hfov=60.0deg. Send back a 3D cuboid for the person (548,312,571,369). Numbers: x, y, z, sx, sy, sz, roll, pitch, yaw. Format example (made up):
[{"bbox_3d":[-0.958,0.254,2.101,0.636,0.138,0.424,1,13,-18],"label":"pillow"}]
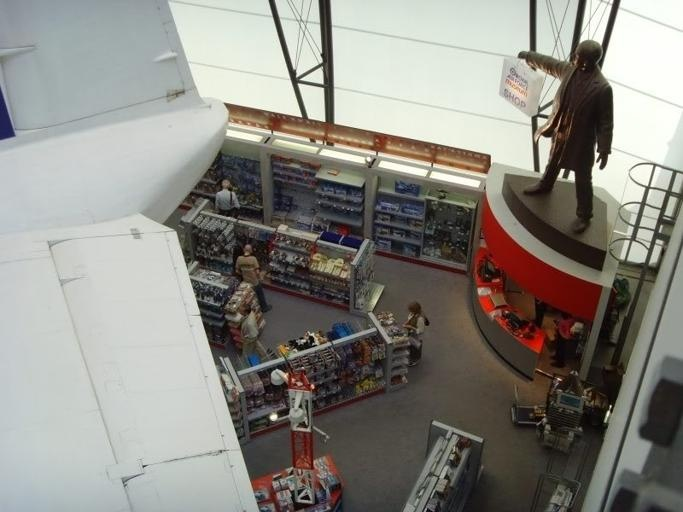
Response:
[{"bbox_3d":[4.640,1.836,12.546,0.403,1.352,0.542,10,36,16],"label":"person"}]

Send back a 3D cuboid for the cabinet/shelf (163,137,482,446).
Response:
[{"bbox_3d":[-0.104,0.753,12.236,4.205,1.943,4.596,1,51,-7],"label":"cabinet/shelf"}]

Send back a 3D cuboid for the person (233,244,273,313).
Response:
[{"bbox_3d":[-1.983,0.528,13.168,0.632,1.791,0.359,1,34,2],"label":"person"}]

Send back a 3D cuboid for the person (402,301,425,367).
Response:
[{"bbox_3d":[1.491,1.671,12.250,0.402,1.340,0.525,-8,42,-6],"label":"person"}]
